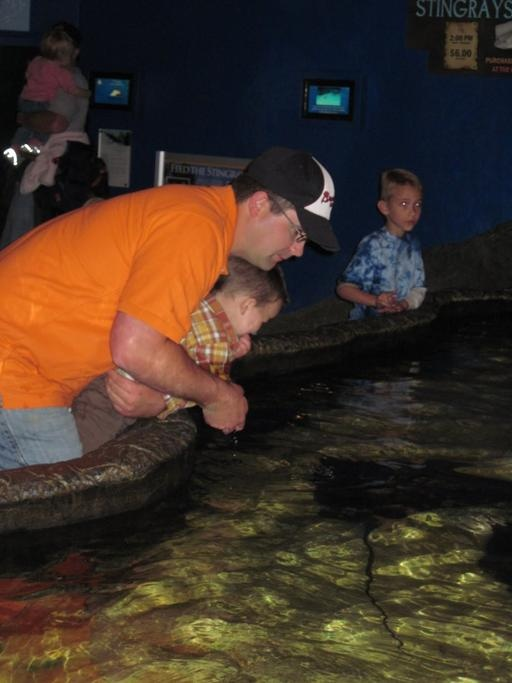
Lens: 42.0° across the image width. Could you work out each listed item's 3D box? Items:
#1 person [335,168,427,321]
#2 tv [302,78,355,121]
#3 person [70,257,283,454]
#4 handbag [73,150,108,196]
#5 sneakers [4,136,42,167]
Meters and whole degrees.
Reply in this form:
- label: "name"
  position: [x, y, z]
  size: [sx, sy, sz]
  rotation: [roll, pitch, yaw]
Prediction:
- label: "person"
  position: [0.816, -0.610, 4.210]
  size: [0.549, 0.951, 0.817]
  rotation: [4, 14, 13]
- label: "tv"
  position: [0.644, -2.121, 5.772]
  size: [0.509, 0.343, 0.301]
  rotation: [7, 10, 14]
- label: "person"
  position: [-0.146, -0.026, 2.136]
  size: [1.052, 0.350, 0.331]
  rotation: [-20, 37, -32]
- label: "handbag"
  position: [-0.939, -0.965, 3.882]
  size: [0.209, 0.233, 0.100]
  rotation: [-6, -5, -39]
- label: "sneakers"
  position: [-1.347, -1.095, 3.861]
  size: [0.276, 0.097, 0.110]
  rotation: [-16, 27, 6]
